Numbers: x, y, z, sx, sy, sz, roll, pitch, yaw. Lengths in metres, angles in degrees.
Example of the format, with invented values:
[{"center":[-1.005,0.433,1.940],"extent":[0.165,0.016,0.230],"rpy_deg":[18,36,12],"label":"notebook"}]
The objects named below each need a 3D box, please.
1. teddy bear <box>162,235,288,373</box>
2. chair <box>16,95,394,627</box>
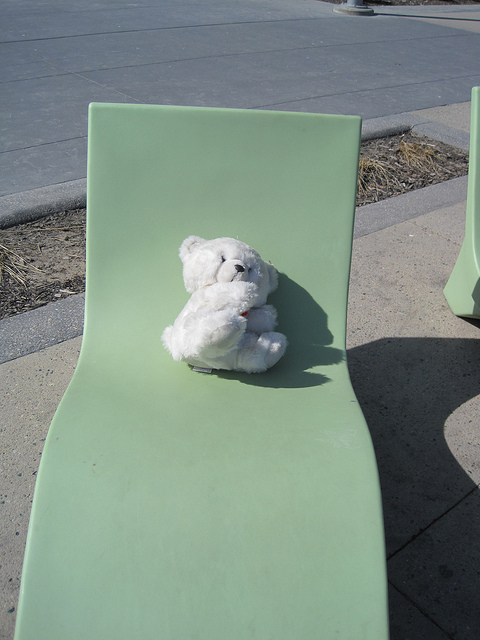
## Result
[{"center":[-0.051,-0.037,1.639],"extent":[0.376,0.319,0.413],"rpy_deg":[-1,38,-5],"label":"teddy bear"},{"center":[-0.090,0.024,1.753],"extent":[0.887,0.903,1.749],"rpy_deg":[2,41,1],"label":"chair"}]
